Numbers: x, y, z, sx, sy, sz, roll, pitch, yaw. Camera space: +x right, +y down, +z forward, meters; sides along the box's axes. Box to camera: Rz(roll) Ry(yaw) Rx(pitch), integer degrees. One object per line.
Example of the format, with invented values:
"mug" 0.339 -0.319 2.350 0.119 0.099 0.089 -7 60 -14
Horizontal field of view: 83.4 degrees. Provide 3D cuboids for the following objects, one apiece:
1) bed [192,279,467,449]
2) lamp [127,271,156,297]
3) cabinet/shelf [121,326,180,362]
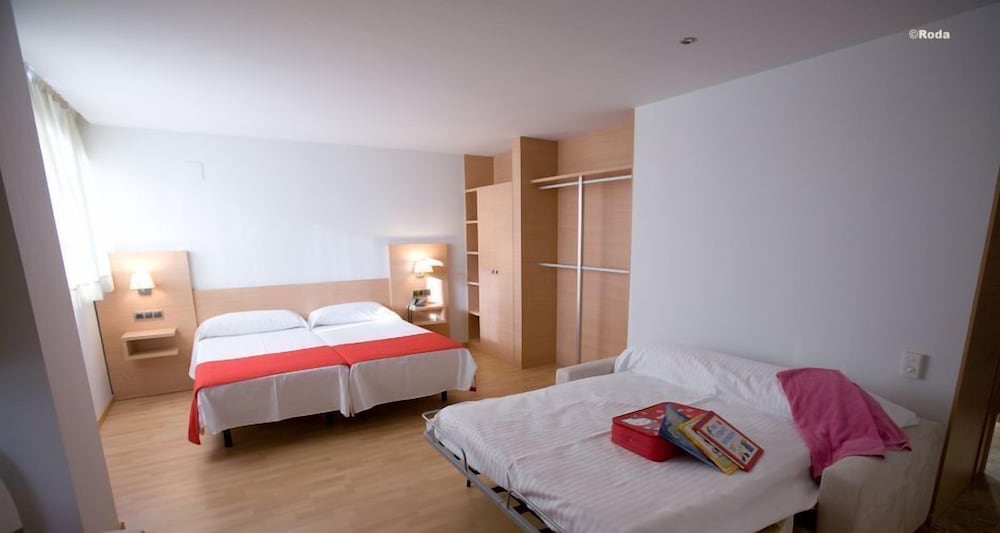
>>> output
"bed" -2.093 1.092 6.837 3.038 1.043 1.843 -4 7 -20
"lamp" -4.307 0.213 6.707 0.256 0.291 0.188 -7 9 -29
"cabinet/shelf" -4.249 0.942 6.801 0.780 0.376 0.376 -3 6 -31
